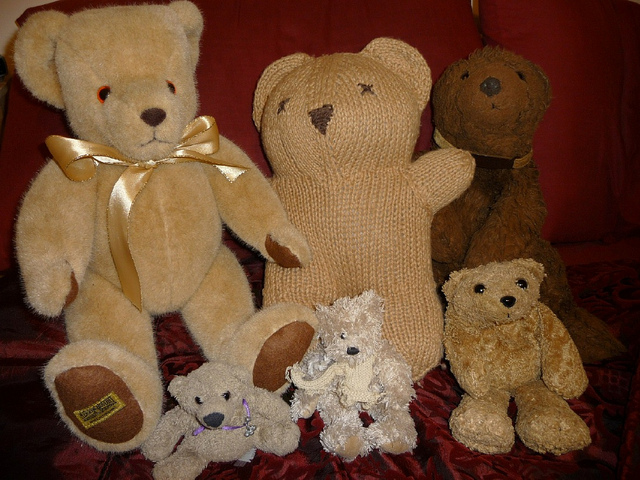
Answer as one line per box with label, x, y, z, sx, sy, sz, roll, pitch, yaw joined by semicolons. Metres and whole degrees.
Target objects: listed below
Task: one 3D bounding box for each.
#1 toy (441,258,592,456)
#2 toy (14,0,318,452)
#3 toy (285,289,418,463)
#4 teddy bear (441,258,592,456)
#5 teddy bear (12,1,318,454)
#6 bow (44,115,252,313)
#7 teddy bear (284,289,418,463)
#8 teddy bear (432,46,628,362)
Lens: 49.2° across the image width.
toy;0.427;0.259;1.585;0.291;0.388;0.383;-10;14;-1
toy;-0.409;-0.063;1.563;0.631;0.602;0.740;-24;54;-19
toy;0.062;0.303;1.568;0.275;0.168;0.370;-12;52;5
teddy bear;0.431;0.261;1.583;0.309;0.389;0.398;-12;17;-6
teddy bear;-0.358;0.006;1.583;0.653;0.824;0.642;-18;37;-31
bow;-0.364;-0.054;1.633;0.446;0.418;0.123;-15;15;-32
teddy bear;0.063;0.311;1.572;0.280;0.150;0.386;-14;49;1
teddy bear;0.503;-0.109;1.791;0.576;0.753;0.450;11;-9;-32
